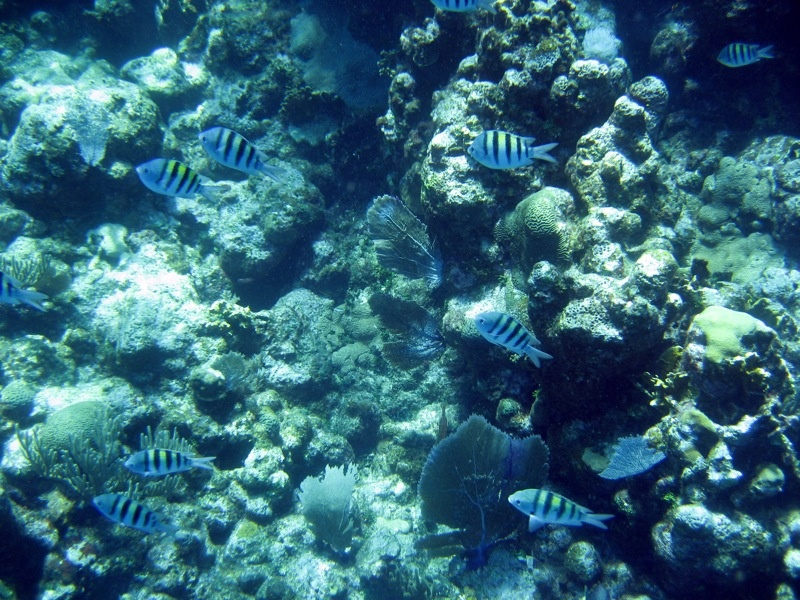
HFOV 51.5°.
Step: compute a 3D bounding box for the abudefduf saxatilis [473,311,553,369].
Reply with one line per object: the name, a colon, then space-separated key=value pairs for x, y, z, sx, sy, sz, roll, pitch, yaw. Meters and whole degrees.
abudefduf saxatilis: x=1.580 y=0.505 z=11.257 sx=0.972 sy=0.475 sz=0.236 roll=32 pitch=15 yaw=-2
